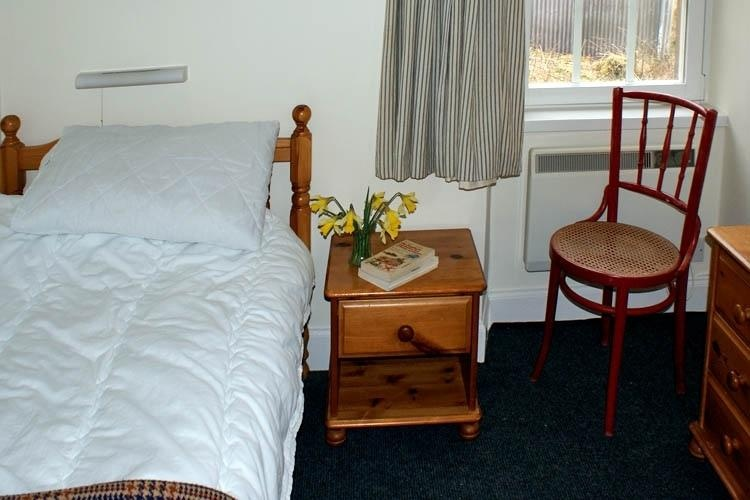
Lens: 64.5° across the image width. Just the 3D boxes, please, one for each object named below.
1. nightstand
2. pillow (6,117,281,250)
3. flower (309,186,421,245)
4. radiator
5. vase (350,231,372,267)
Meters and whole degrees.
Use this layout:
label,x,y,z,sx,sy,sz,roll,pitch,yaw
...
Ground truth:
label,x,y,z,sx,sy,sz,roll,pitch,yaw
nightstand,0.138,0.321,2.624,0.731,0.817,0.773,-2,28,-2
pillow,-0.865,-0.265,2.311,0.901,0.396,0.440,1,21,3
flower,-0.051,-0.138,2.435,0.279,0.174,0.299,-1,20,-4
radiator,1.043,-0.211,2.647,0.580,0.461,0.084,-1,29,-1
vase,-0.057,-0.031,2.359,0.091,0.166,0.091,-1,50,-2
